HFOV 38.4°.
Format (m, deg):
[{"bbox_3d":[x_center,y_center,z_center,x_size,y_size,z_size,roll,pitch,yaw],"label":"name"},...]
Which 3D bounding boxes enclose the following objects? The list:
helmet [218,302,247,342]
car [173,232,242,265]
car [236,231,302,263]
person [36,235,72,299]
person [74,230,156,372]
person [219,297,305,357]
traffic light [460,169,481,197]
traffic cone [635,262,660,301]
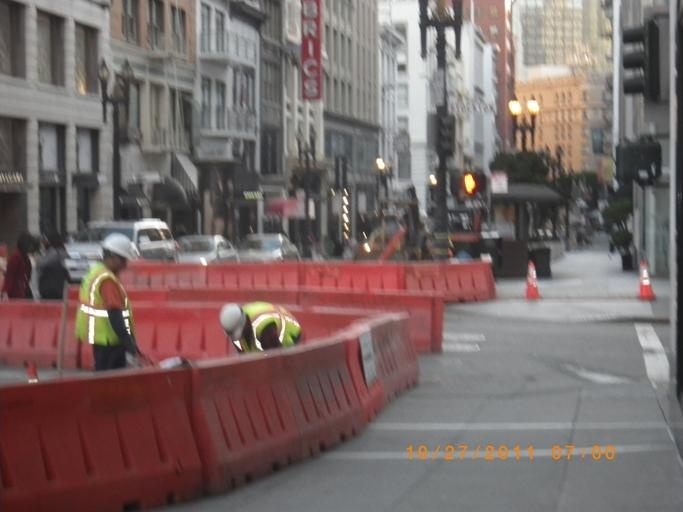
[{"bbox_3d":[-1.174,0.708,10.615,0.215,0.420,0.384,-12,-29,7],"label":"helmet"},{"bbox_3d":[-4.799,-0.105,33.932,1.757,0.930,3.156,-3,6,22],"label":"car"},{"bbox_3d":[-2.745,-0.159,36.685,2.264,0.974,3.437,-6,6,-6],"label":"car"},{"bbox_3d":[-5.392,0.230,18.210,0.560,1.167,1.058,-5,5,-18],"label":"person"},{"bbox_3d":[-3.535,0.719,15.132,0.759,2.689,1.066,-12,24,-37],"label":"person"},{"bbox_3d":[-0.864,0.765,10.819,0.447,0.524,0.831,-3,11,27],"label":"person"},{"bbox_3d":[3.535,-1.929,26.699,0.541,1.163,0.523,-1,0,4],"label":"traffic light"},{"bbox_3d":[9.006,0.802,28.601,0.580,1.476,0.749,-2,1,-1],"label":"traffic cone"}]
